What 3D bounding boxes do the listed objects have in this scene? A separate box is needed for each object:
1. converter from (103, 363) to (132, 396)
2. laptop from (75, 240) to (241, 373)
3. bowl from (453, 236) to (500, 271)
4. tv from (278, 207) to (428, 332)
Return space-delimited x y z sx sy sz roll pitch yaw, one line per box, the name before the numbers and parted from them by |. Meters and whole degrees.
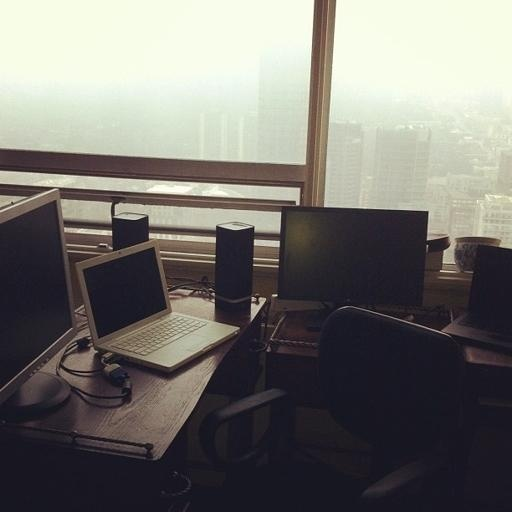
converter | -0.357 0.319 1.270 0.061 0.020 0.063 15 27 19
laptop | -0.292 0.034 1.450 0.367 0.308 0.414 13 16 22
bowl | 0.940 -0.025 2.116 0.167 0.151 0.193 2 -1 -2
tv | 0.352 0.034 1.790 0.418 0.341 0.129 3 6 3
